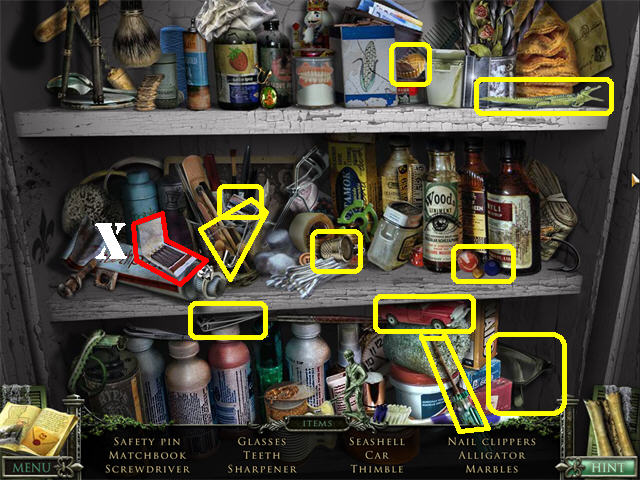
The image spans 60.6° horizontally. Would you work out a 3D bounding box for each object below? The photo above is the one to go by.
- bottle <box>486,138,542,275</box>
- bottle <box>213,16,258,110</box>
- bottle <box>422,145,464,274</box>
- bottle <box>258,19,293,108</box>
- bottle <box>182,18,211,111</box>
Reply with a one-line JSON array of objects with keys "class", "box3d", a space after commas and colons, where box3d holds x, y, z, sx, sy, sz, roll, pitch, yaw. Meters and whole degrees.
[{"class": "bottle", "box3d": [0.461, -0.073, 1.293, 0.124, 0.324, 0.064, -4, 14, 5]}, {"class": "bottle", "box3d": [-0.184, -0.384, 1.213, 0.095, 0.185, 0.038, -7, 14, -7]}, {"class": "bottle", "box3d": [0.296, -0.081, 1.317, 0.104, 0.320, 0.076, -4, 14, 5]}, {"class": "bottle", "box3d": [-0.102, -0.407, 1.256, 0.073, 0.197, 0.060, -6, 14, -5]}, {"class": "bottle", "box3d": [-0.286, -0.399, 1.258, 0.061, 0.197, 0.124, -7, 14, -9]}]
